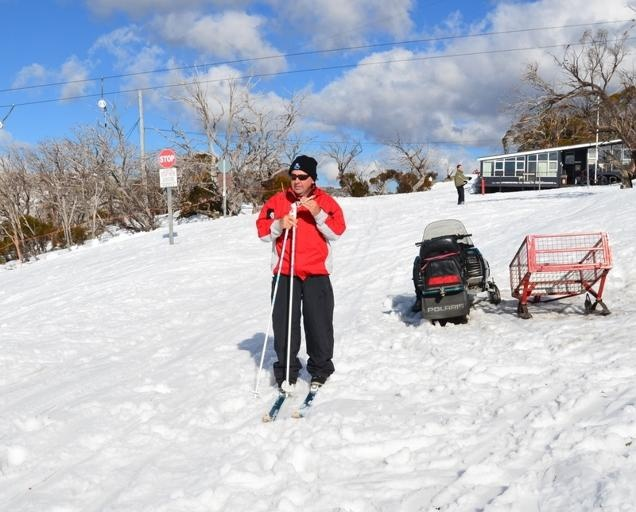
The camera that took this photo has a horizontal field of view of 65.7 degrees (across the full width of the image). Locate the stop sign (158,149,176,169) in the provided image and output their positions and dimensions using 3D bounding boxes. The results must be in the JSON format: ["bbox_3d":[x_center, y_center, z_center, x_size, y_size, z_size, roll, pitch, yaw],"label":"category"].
[{"bbox_3d":[-4.431,-2.842,14.517,0.434,0.526,0.854,-9,12,-17],"label":"stop sign"}]

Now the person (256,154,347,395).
[{"bbox_3d":[-0.144,0.217,5.184,0.873,2.465,0.554,-8,11,-9],"label":"person"}]

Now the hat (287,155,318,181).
[{"bbox_3d":[-0.150,-0.860,4.904,0.283,0.267,0.404,-7,11,-3],"label":"hat"}]

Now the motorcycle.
[{"bbox_3d":[1.899,0.197,6.841,0.913,1.063,1.716,-5,9,16],"label":"motorcycle"}]
